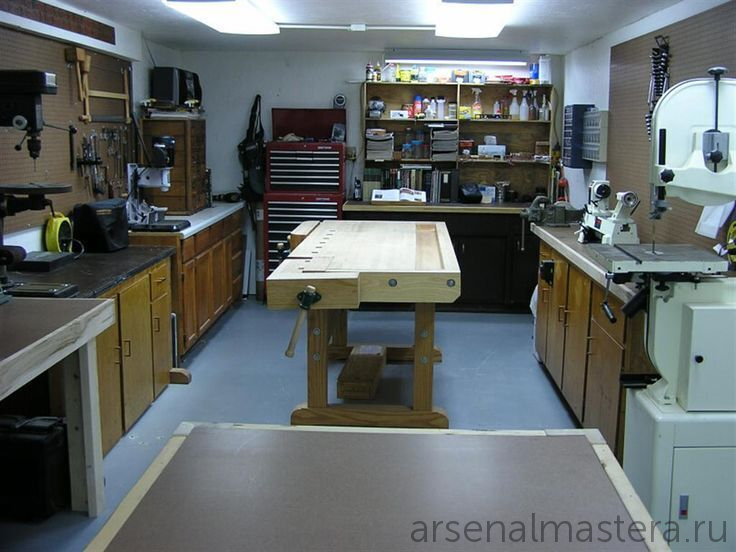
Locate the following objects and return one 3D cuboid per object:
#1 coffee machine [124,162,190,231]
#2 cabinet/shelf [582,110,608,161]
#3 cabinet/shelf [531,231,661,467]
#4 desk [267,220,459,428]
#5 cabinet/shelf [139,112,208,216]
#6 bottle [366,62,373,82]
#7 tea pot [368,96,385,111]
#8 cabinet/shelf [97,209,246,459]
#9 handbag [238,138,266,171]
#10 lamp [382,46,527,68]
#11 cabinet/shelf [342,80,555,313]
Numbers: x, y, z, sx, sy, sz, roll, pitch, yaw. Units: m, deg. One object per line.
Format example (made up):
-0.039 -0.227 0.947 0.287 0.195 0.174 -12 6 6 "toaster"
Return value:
-1.707 -0.630 4.619 0.471 0.553 0.500 0 11 -5 "coffee machine"
2.115 -1.305 5.399 0.153 0.545 0.465 1 8 3 "cabinet/shelf"
1.244 0.393 3.146 0.311 0.633 1.226 1 12 7 "cabinet/shelf"
0.067 0.203 3.598 1.119 0.979 1.974 -1 13 0 "desk"
-1.783 -1.007 5.274 0.363 0.853 0.970 -1 16 -4 "cabinet/shelf"
0.022 -2.148 6.172 0.071 0.179 0.095 -1 14 -5 "bottle"
0.088 -1.839 6.328 0.151 0.144 0.209 3 8 7 "tea pot"
-1.354 0.385 3.935 0.313 0.567 1.551 -1 17 -2 "cabinet/shelf"
-1.280 -1.350 6.560 0.455 0.350 0.180 10 17 33 "handbag"
0.941 -2.295 6.107 1.532 0.173 0.543 0 15 -4 "lamp"
0.815 -0.805 5.617 2.370 2.385 0.850 0 9 0 "cabinet/shelf"
